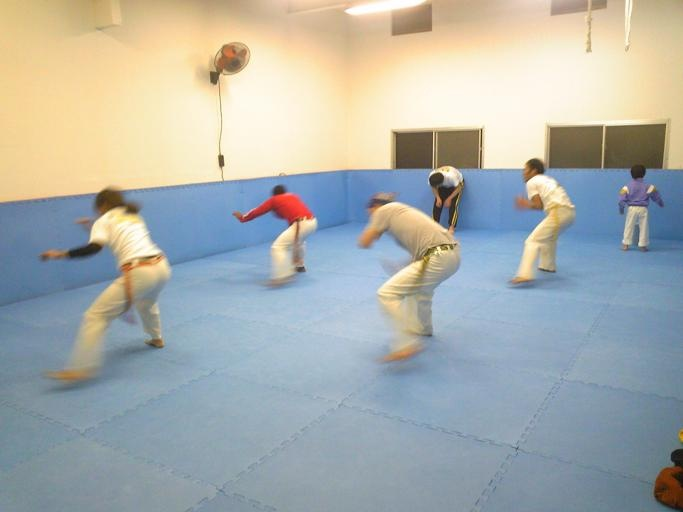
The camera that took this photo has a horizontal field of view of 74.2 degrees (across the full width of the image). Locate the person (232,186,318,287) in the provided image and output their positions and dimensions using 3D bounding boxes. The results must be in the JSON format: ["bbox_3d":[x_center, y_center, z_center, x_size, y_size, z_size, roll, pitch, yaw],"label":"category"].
[{"bbox_3d":[-0.927,-0.349,6.843,1.094,1.481,1.040,0,6,11],"label":"person"}]

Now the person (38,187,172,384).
[{"bbox_3d":[-1.914,0.221,3.850,0.712,1.553,0.912,2,14,13],"label":"person"}]

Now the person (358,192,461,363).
[{"bbox_3d":[0.586,0.177,4.048,0.894,1.440,0.508,-7,15,-22],"label":"person"}]

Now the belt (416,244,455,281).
[{"bbox_3d":[0.836,0.017,3.905,0.249,0.066,0.191,-35,26,-16],"label":"belt"}]

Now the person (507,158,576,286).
[{"bbox_3d":[2.834,-0.507,6.344,0.746,1.650,1.185,6,15,26],"label":"person"}]

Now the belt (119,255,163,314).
[{"bbox_3d":[-1.703,0.212,3.882,0.403,0.368,0.339,0,3,-16],"label":"belt"}]

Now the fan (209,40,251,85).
[{"bbox_3d":[-2.019,-3.392,7.964,0.838,0.604,0.360,11,18,41],"label":"fan"}]

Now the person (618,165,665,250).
[{"bbox_3d":[5.334,-0.883,8.067,0.624,1.454,1.151,9,17,35],"label":"person"}]
